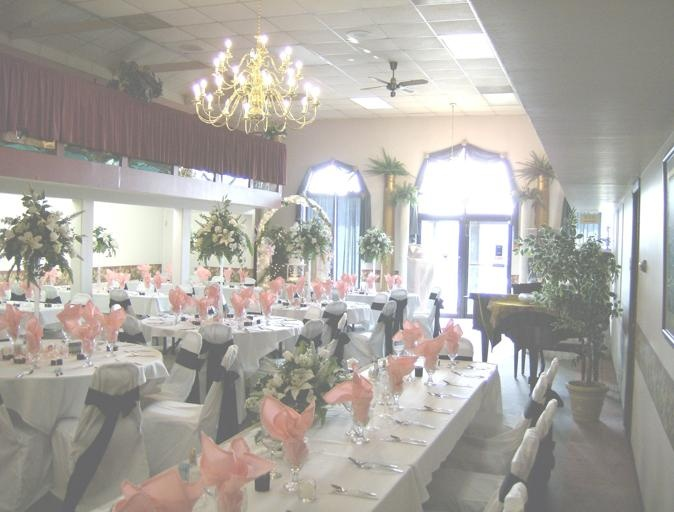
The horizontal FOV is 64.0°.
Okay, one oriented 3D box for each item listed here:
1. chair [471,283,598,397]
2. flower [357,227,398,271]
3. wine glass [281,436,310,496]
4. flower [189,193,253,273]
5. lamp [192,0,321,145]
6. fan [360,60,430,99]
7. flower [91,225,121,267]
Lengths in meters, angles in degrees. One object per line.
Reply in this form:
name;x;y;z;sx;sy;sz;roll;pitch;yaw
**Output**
chair;2.521;0.916;7.213;1.211;1.120;1.289;-4;7;-38
flower;0.889;-0.096;11.864;0.747;0.878;0.816;2;-24;-2
wine glass;-0.208;1.024;2.715;0.118;0.287;0.305;-3;-4;-7
flower;-1.487;-0.380;7.009;0.663;0.966;0.758;-2;-4;-22
lamp;-1.394;-3.301;9.288;1.840;2.092;1.990;-3;-3;7
fan;1.046;-3.266;9.960;0.878;0.703;1.026;-2;8;-6
flower;-5.264;-0.296;12.200;0.501;0.923;1.553;-2;-5;-24
